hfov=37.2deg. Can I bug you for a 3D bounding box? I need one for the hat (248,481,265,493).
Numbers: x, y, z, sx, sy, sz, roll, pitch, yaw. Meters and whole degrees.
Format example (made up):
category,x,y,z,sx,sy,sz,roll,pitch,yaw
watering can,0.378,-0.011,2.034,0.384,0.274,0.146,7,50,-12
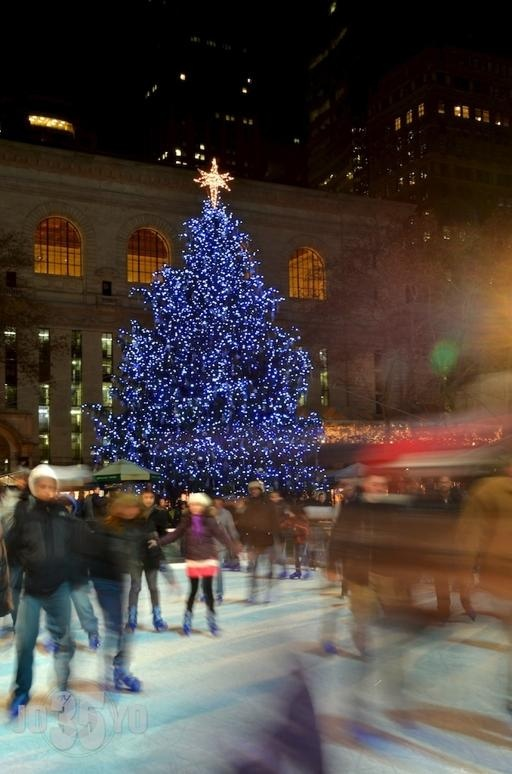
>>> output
category,x,y,z,sx,sy,sz,roll,pitch,yaw
hat,-0.010,1.619,12.419,0.199,0.190,0.255,-1,4,10
